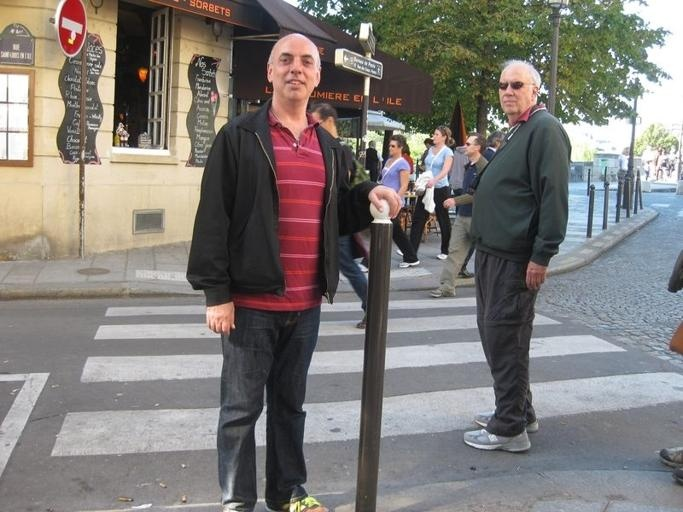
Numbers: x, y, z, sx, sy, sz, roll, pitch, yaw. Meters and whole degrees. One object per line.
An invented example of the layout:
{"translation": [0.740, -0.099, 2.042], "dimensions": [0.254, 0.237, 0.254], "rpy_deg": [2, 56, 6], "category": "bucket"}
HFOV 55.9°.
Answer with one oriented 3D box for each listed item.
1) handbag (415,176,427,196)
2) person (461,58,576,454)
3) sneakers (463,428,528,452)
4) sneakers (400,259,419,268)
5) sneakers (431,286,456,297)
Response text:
{"translation": [1.375, -1.227, 11.212], "dimensions": [0.230, 0.327, 0.113], "rpy_deg": [6, -4, 45], "category": "handbag"}
{"translation": [1.229, -0.021, 4.519], "dimensions": [0.637, 2.676, 0.652], "rpy_deg": [2, 9, 14], "category": "person"}
{"translation": [1.079, 1.286, 4.545], "dimensions": [0.444, 0.208, 0.164], "rpy_deg": [4, 3, 11], "category": "sneakers"}
{"translation": [1.172, 0.138, 10.922], "dimensions": [0.133, 0.110, 0.348], "rpy_deg": [0, -1, 41], "category": "sneakers"}
{"translation": [1.428, 0.507, 9.083], "dimensions": [0.359, 0.158, 0.132], "rpy_deg": [2, 1, -19], "category": "sneakers"}
